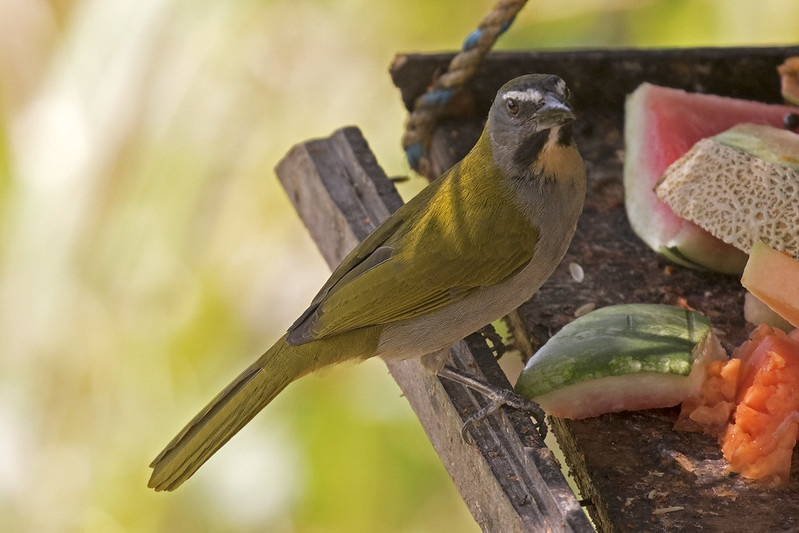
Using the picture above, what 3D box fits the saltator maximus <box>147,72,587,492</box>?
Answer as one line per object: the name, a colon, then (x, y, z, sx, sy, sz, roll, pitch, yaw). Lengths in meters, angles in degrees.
saltator maximus: (-0.121, 0.110, 4.229, 1.956, 1.337, 0.611, -16, 14, -10)
